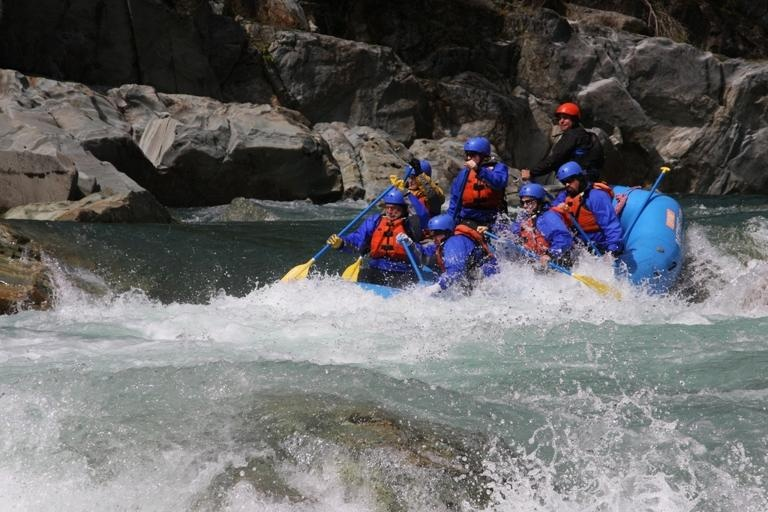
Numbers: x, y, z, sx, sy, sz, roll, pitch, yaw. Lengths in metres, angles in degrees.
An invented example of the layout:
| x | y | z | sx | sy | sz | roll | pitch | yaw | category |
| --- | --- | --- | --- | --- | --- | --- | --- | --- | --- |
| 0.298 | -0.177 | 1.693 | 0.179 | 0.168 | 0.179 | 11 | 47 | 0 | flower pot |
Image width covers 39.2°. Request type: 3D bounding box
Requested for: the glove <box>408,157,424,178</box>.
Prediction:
| x | y | z | sx | sy | sz | roll | pitch | yaw | category |
| --- | --- | --- | --- | --- | --- | --- | --- | --- | --- |
| 0.611 | -1.690 | 20.427 | 0.264 | 0.344 | 0.201 | -3 | 3 | 5 | glove |

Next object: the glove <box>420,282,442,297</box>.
| x | y | z | sx | sy | sz | roll | pitch | yaw | category |
| --- | --- | --- | --- | --- | --- | --- | --- | --- | --- |
| 0.848 | 0.585 | 18.749 | 0.241 | 0.090 | 0.296 | -15 | 8 | 4 | glove |

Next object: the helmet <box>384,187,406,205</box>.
| x | y | z | sx | sy | sz | roll | pitch | yaw | category |
| --- | --- | --- | --- | --- | --- | --- | --- | --- | --- |
| 0.183 | -1.038 | 19.505 | 0.331 | 0.346 | 0.339 | 2 | 31 | 10 | helmet |

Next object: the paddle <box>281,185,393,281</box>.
| x | y | z | sx | sy | sz | roll | pitch | yaw | category |
| --- | --- | --- | --- | --- | --- | --- | --- | --- | --- |
| -0.992 | -0.427 | 21.725 | 3.817 | 0.412 | 0.158 | -36 | 37 | -20 | paddle |

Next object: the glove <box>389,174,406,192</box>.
| x | y | z | sx | sy | sz | roll | pitch | yaw | category |
| --- | --- | --- | --- | --- | --- | --- | --- | --- | --- |
| 0.311 | -1.344 | 20.252 | 0.337 | 0.426 | 0.192 | 32 | 62 | 13 | glove |

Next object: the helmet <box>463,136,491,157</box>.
| x | y | z | sx | sy | sz | roll | pitch | yaw | category |
| --- | --- | --- | --- | --- | --- | --- | --- | --- | --- |
| 1.756 | -2.007 | 19.817 | 0.513 | 0.354 | 0.388 | -17 | 25 | -22 | helmet |

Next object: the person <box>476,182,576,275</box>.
| x | y | z | sx | sy | sz | roll | pitch | yaw | category |
| --- | --- | --- | --- | --- | --- | --- | --- | --- | --- |
| 2.552 | -0.439 | 19.377 | 1.131 | 1.719 | 1.214 | -26 | -6 | -21 | person |

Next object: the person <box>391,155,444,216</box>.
| x | y | z | sx | sy | sz | roll | pitch | yaw | category |
| --- | --- | --- | --- | --- | --- | --- | --- | --- | --- |
| 0.756 | -1.378 | 20.888 | 0.878 | 0.612 | 1.340 | 32 | 11 | 32 | person |

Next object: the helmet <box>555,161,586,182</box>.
| x | y | z | sx | sy | sz | roll | pitch | yaw | category |
| --- | --- | --- | --- | --- | --- | --- | --- | --- | --- |
| 3.406 | -1.525 | 19.488 | 0.446 | 0.401 | 0.498 | 23 | 27 | 40 | helmet |

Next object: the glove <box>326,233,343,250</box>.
| x | y | z | sx | sy | sz | roll | pitch | yaw | category |
| --- | --- | --- | --- | --- | --- | --- | --- | --- | --- |
| -0.901 | -0.266 | 20.019 | 0.268 | 0.213 | 0.367 | 20 | 39 | 4 | glove |

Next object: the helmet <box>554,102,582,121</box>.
| x | y | z | sx | sy | sz | roll | pitch | yaw | category |
| --- | --- | --- | --- | --- | --- | --- | --- | --- | --- |
| 3.414 | -2.699 | 19.914 | 0.412 | 0.266 | 0.296 | 3 | 21 | -4 | helmet |

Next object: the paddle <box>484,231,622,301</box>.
| x | y | z | sx | sy | sz | roll | pitch | yaw | category |
| --- | --- | --- | --- | --- | --- | --- | --- | --- | --- |
| 3.058 | 0.211 | 19.030 | 3.227 | 0.315 | 0.147 | 22 | 9 | 21 | paddle |
